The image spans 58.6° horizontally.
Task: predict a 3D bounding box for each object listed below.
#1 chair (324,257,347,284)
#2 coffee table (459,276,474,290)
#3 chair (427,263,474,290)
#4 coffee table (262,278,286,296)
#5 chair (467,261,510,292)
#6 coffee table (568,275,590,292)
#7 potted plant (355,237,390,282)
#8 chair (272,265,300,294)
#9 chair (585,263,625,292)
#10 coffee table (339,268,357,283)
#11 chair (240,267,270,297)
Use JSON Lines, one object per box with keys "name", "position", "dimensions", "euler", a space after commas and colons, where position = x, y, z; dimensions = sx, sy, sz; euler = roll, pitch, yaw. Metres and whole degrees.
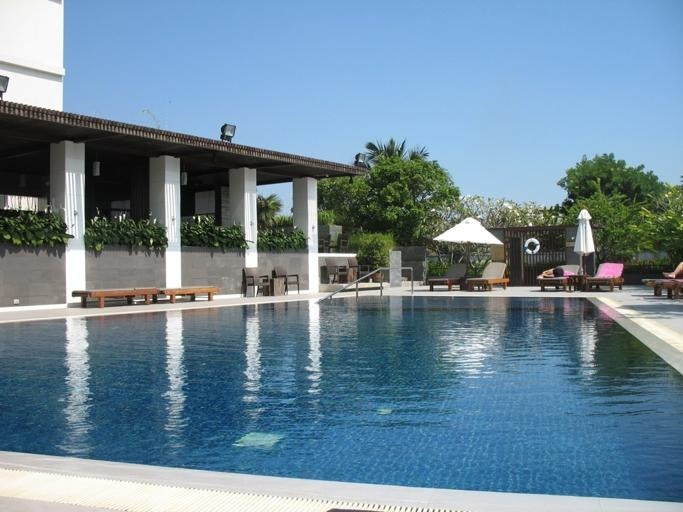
{"name": "chair", "position": [-0.343, 0.665, 28.149], "dimensions": [1.237, 1.534, 1.098], "euler": [1, -1, -40]}
{"name": "coffee table", "position": [5.286, 1.193, 25.465], "dimensions": [0.496, 0.487, 0.488], "euler": [1, -4, -22]}
{"name": "chair", "position": [4.604, 0.925, 26.419], "dimensions": [1.186, 1.346, 2.310], "euler": [-3, -5, 35]}
{"name": "coffee table", "position": [-2.484, 1.196, 22.595], "dimensions": [0.599, 0.869, 0.890], "euler": [-1, -3, 0]}
{"name": "chair", "position": [6.133, 0.938, 26.011], "dimensions": [1.235, 1.388, 2.297], "euler": [-3, -4, 35]}
{"name": "coffee table", "position": [9.356, 1.124, 24.132], "dimensions": [0.687, 0.576, 0.909], "euler": [0, -4, 1]}
{"name": "potted plant", "position": [1.231, -0.123, 31.478], "dimensions": [2.034, 2.221, 1.776], "euler": [0, -2, 18]}
{"name": "chair", "position": [-2.145, 0.931, 23.655], "dimensions": [1.033, 1.325, 1.062], "euler": [-1, -1, 33]}
{"name": "chair", "position": [10.866, 0.861, 25.229], "dimensions": [1.464, 1.253, 2.033], "euler": [-2, -4, 33]}
{"name": "coffee table", "position": [0.278, 0.922, 28.080], "dimensions": [0.617, 0.831, 0.860], "euler": [0, 0, 8]}
{"name": "chair", "position": [-3.173, 0.993, 23.001], "dimensions": [1.071, 1.318, 1.137], "euler": [-1, -1, 41]}
